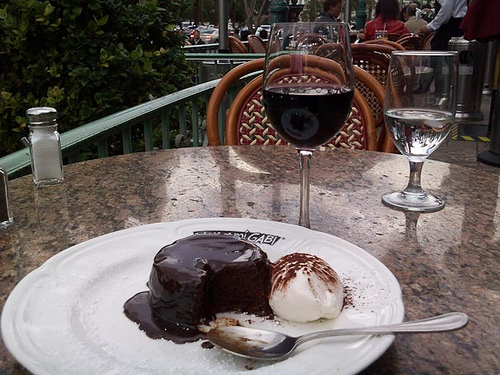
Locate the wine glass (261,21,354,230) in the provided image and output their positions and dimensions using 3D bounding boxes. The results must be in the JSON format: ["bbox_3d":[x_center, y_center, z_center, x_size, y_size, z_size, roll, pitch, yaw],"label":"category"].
[{"bbox_3d":[0.124,-0.148,0.966,0.176,0.443,0.138,19,27,39],"label":"wine glass"}]

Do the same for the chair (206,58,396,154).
[{"bbox_3d":[0.205,-0.297,2.056,0.601,0.645,0.791,12,22,37],"label":"chair"}]

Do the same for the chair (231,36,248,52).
[{"bbox_3d":[-0.196,-2.538,7.376,0.255,0.235,0.344,1,20,-2],"label":"chair"}]

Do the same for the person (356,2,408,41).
[{"bbox_3d":[2.546,-3.141,7.778,0.787,0.708,1.945,8,21,18],"label":"person"}]

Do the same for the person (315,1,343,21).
[{"bbox_3d":[1.609,-3.527,8.245,0.360,0.426,1.915,5,20,9],"label":"person"}]
